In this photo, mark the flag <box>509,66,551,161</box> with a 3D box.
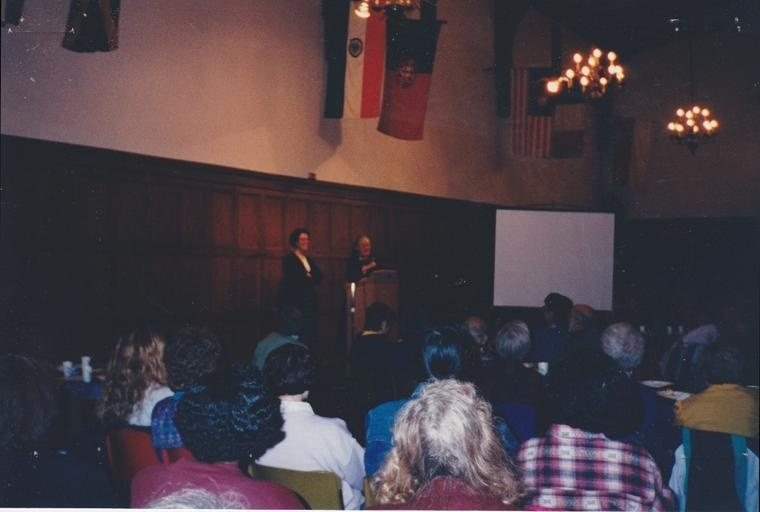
[{"bbox_3d":[1.601,-1.515,6.680,0.461,0.954,0.095,1,-1,13],"label":"flag"}]

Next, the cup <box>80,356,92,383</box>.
[{"bbox_3d":[-2.647,1.019,5.714,0.089,0.210,0.049,1,-1,9],"label":"cup"}]

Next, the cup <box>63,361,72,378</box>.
[{"bbox_3d":[-2.822,1.018,5.719,0.084,0.135,0.049,2,-1,-32],"label":"cup"}]

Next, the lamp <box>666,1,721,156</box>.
[{"bbox_3d":[3.155,-1.728,6.359,0.515,1.331,0.234,1,-1,21],"label":"lamp"}]

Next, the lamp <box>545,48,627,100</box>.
[{"bbox_3d":[2.170,-1.833,6.517,0.554,0.327,0.616,-8,1,-9],"label":"lamp"}]
